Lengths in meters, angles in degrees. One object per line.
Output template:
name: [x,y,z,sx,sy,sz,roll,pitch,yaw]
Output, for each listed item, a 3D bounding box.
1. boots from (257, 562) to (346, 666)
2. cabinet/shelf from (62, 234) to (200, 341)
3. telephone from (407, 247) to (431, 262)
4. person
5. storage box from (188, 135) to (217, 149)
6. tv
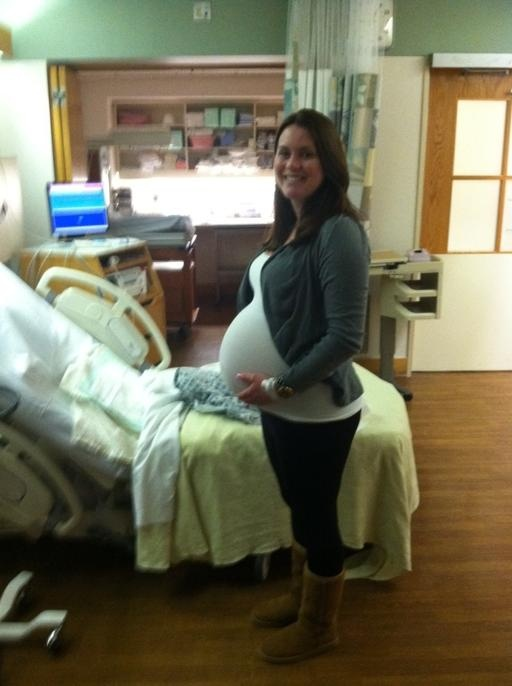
boots: [0.108,0.639,1.319,0.206,0.241,0.105,0,22,-7]
cabinet/shelf: [-1.030,-0.474,4.795,0.719,1.044,0.766,-3,10,-7]
telephone: [0.970,-0.514,3.279,0.116,0.063,0.072,0,3,-1]
person: [0.079,0.171,1.139,0.304,1.243,0.315,0,11,-4]
storage box: [-0.603,-2.253,6.190,0.222,0.142,0.157,-14,32,-22]
tv: [-1.104,-0.806,3.384,0.246,0.335,0.405,3,11,13]
